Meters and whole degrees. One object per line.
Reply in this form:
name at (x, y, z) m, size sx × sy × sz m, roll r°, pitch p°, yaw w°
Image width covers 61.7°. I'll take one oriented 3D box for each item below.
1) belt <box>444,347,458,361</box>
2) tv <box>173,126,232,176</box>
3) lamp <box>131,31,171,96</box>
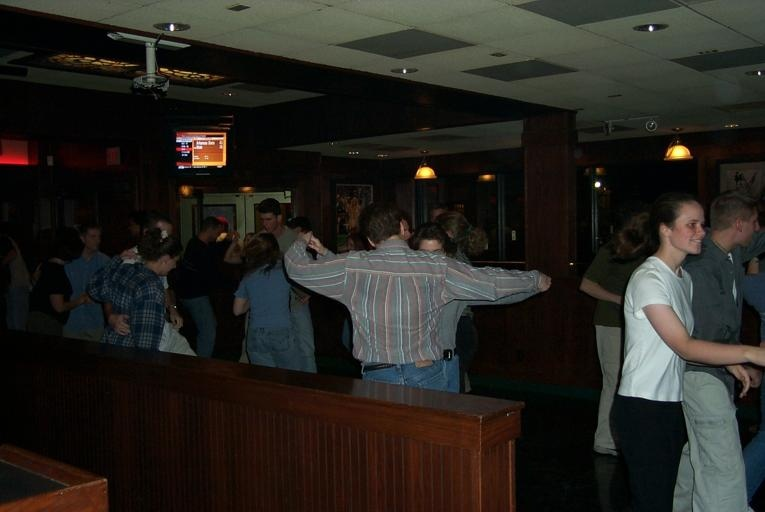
belt at (0.469, 0.670, 4.381) m, size 0.074 × 0.063 × 0.091 m, roll -2°, pitch -6°, yaw 44°
tv at (-2.371, -1.439, 8.856) m, size 0.997 × 0.644 × 0.548 m, roll 3°, pitch 3°, yaw 14°
lamp at (-1.938, -1.591, 5.351) m, size 0.265 × 0.516 × 0.476 m, roll 0°, pitch 5°, yaw -20°
